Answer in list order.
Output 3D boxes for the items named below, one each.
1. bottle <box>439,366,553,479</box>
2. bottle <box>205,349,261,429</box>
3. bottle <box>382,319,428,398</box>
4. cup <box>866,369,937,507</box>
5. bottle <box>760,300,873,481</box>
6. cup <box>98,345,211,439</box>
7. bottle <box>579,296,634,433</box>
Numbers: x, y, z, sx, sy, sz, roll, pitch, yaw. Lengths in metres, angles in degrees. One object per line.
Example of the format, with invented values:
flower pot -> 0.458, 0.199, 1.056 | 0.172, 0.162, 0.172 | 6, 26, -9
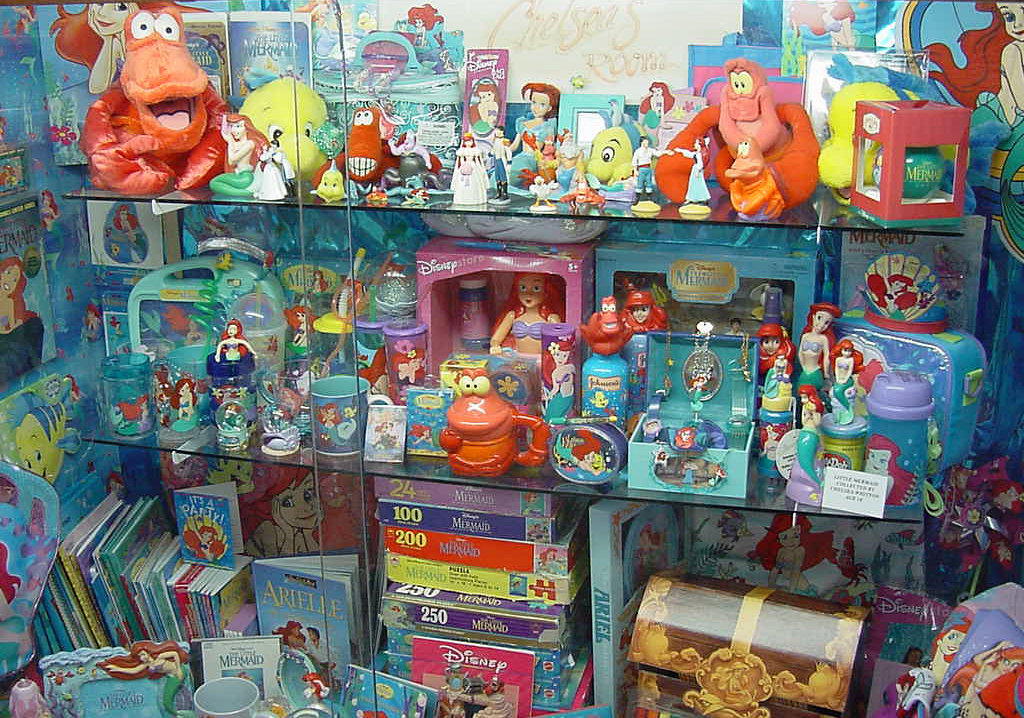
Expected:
bottle -> -0.035, 0.146, 1.862 | 0.252, 0.247, 0.163 | 2, 19, 12
bottle -> -0.726, 0.075, 2.035 | 0.118, 0.201, 0.121 | 2, 19, -1
bottle -> -0.281, 0.017, 2.025 | 0.116, 0.180, 0.112 | 0, 13, 0
cup -> 0.852, 0.185, 1.734 | 0.132, 0.290, 0.132 | 1, 11, 0
bottle -> 0.702, 0.071, 1.778 | 0.270, 0.381, 0.225 | -7, 10, -31
cup -> -0.903, 0.088, 2.006 | 0.224, 0.172, 0.235 | 0, 9, 0
bottle -> 0.210, 0.038, 1.927 | 0.122, 0.350, 0.114 | -1, 2, 0
